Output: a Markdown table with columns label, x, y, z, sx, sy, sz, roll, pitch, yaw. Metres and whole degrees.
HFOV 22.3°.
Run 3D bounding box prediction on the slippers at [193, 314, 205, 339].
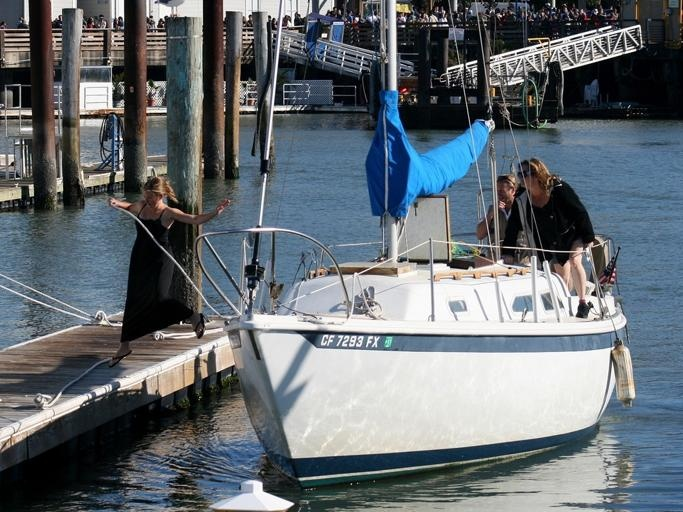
| label | x | y | z | sx | sy | sz | roll | pitch | yaw |
| --- | --- | --- | --- | --- | --- | --- | --- | --- | --- |
| slippers | -1.846 | 0.926 | 22.268 | 0.120 | 0.337 | 0.084 | -2 | -7 | -38 |

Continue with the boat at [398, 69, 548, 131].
| label | x | y | z | sx | sy | sz | roll | pitch | yaw |
| --- | --- | --- | --- | --- | --- | --- | --- | --- | --- |
| boat | 4.444 | -5.018 | 53.531 | 4.201 | 1.509 | 2.774 | 2 | 8 | 31 |
